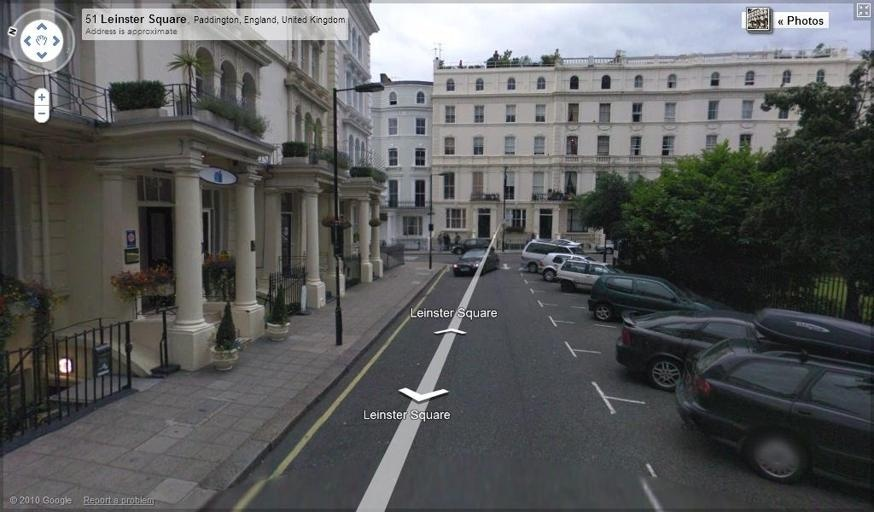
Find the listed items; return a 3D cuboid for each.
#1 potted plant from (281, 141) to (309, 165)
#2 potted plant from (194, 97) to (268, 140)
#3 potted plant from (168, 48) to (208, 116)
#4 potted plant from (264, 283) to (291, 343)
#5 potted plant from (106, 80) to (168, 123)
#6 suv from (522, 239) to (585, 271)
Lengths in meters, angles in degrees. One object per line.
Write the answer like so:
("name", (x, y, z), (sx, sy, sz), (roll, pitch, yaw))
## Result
("potted plant", (-6.329, -4.591, 30.979), (1.223, 0.898, 1.141), (-3, 10, -10))
("potted plant", (-7.821, -5.254, 26.406), (0.955, 1.543, 2.962), (3, 11, 24))
("potted plant", (-8.997, -6.518, 25.189), (1.252, 1.532, 1.247), (-14, -10, 39))
("potted plant", (-6.293, 2.207, 27.105), (0.867, 1.831, 1.882), (-4, 10, -12))
("potted plant", (-10.502, -5.394, 24.141), (1.942, 1.308, 0.606), (0, 10, 6))
("suv", (7.080, 0.061, 43.943), (3.334, 1.716, 1.951), (-2, 9, 9))
